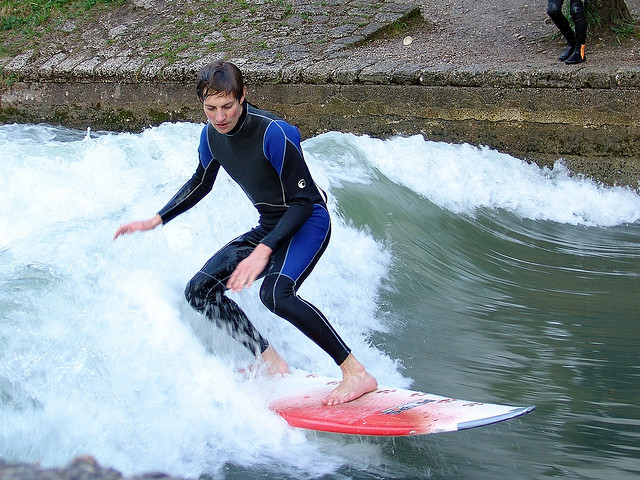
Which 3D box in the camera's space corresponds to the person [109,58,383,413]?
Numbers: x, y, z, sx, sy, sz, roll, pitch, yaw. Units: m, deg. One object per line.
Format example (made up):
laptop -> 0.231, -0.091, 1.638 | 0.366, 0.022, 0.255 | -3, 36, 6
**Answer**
person -> -0.394, 0.029, 4.061 | 1.007, 1.719, 1.483 | -21, 49, -4
